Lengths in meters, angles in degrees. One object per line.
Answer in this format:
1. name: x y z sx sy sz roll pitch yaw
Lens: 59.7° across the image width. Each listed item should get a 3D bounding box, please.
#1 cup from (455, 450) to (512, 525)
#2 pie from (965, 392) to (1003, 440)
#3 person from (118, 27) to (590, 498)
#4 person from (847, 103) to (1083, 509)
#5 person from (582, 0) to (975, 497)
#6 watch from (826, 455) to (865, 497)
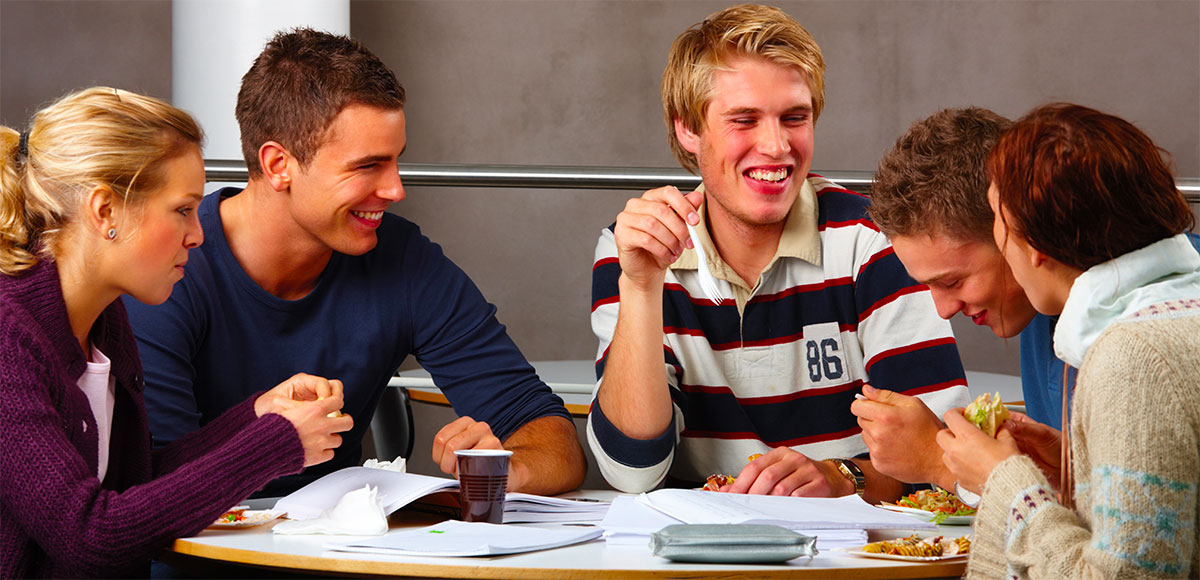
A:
1. cup: -0.251 0.412 2.171 0.143 0.145 0.130 1 -12 -17
2. pie: 0.791 0.258 2.143 0.099 0.070 0.042 -23 -18 -49
3. person: -0.629 -0.139 2.824 1.205 1.032 1.038 5 10 41
4. person: 0.763 -0.001 2.376 0.387 0.812 0.529 -12 10 -41
5. person: 0.402 -0.154 2.957 1.232 1.463 1.105 -3 5 -1
6. watch: 0.546 0.404 2.357 0.045 0.057 0.066 11 4 -4
